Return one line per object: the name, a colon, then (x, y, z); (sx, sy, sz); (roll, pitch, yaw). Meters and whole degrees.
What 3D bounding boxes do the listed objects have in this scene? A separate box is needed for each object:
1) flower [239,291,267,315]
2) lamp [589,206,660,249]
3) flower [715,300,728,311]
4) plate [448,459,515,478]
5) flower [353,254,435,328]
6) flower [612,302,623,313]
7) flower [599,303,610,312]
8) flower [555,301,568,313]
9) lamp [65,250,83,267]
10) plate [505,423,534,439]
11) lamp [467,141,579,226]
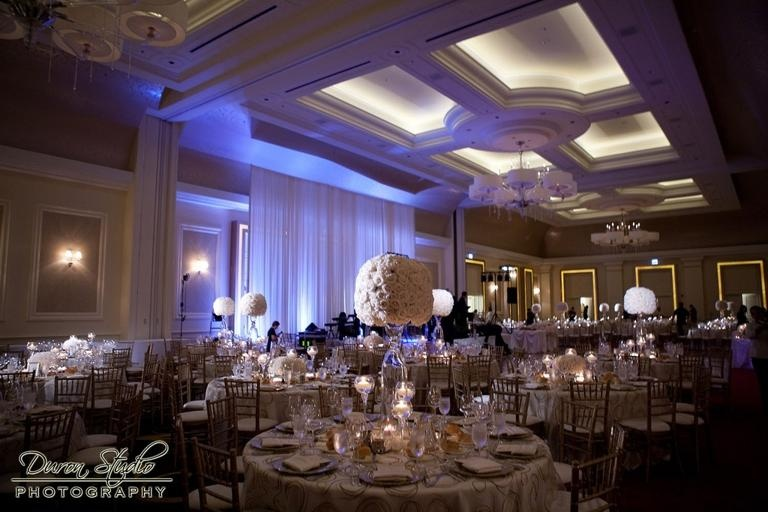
flower: (-3.232, 1.243, 11.997); (0.589, 0.704, 0.630); (-1, -7, 10)
lamp: (9.689, -1.025, 19.626); (2.620, 1.774, 2.745); (-3, 8, 25)
flower: (14.616, 2.191, 20.991); (0.518, 0.370, 0.634); (1, -7, 24)
plate: (0.916, 1.964, 4.485); (0.585, 0.147, 0.242); (-1, -10, 5)
flower: (0.097, 0.427, 5.710); (0.879, 0.873, 0.938); (6, -16, -28)
flower: (11.831, 2.605, 24.484); (0.248, 0.394, 0.467); (-11, -29, -34)
flower: (10.452, 2.452, 22.964); (0.562, 0.347, 0.595); (-10, -4, 9)
flower: (8.400, 2.435, 22.945); (0.856, 0.525, 0.909); (2, -5, -1)
lamp: (-7.062, 0.100, 11.103); (0.451, 0.458, 0.307); (4, -4, -33)
plate: (1.375, 1.883, 5.168); (0.343, 0.110, 0.298); (2, -10, -11)
lamp: (3.303, -1.652, 11.770); (2.288, 0.866, 1.796); (3, -11, -19)
